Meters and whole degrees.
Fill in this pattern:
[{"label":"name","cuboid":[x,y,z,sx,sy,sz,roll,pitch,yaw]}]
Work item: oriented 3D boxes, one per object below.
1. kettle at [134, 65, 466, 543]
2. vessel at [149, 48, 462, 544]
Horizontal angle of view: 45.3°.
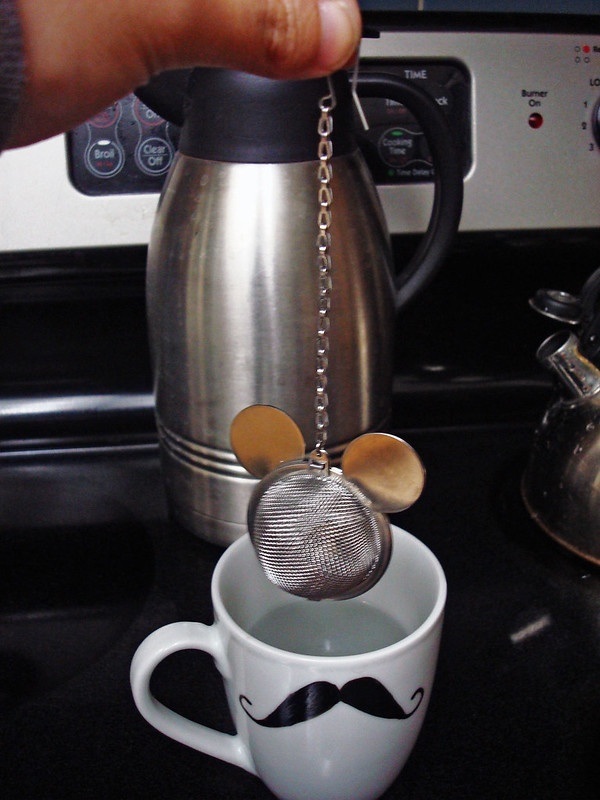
[{"label":"kettle","cuboid":[0.008,-0.054,0.388,0.170,0.232,0.132,-3,4,9]},{"label":"vessel","cuboid":[0.014,-0.053,0.390,0.165,0.243,0.151,0,7,33]}]
